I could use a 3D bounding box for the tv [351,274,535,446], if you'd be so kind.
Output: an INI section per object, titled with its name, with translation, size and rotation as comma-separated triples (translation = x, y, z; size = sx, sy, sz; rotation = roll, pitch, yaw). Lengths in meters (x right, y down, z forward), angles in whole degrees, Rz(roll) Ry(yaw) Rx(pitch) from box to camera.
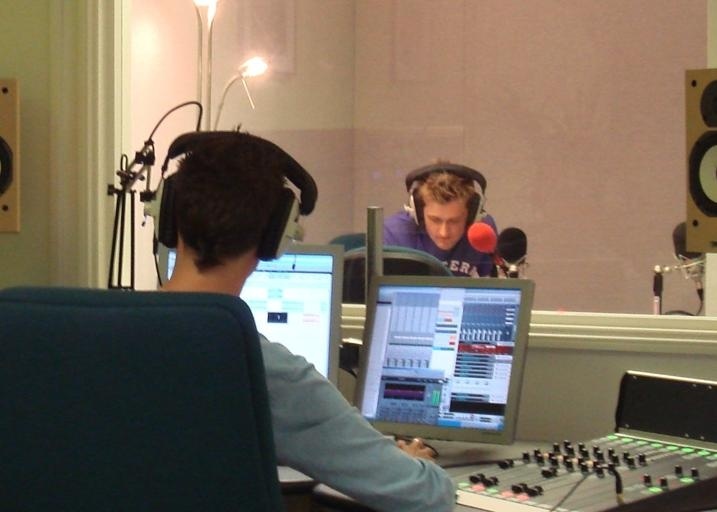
[tv]
translation = 0.237, 0.290, 2.156
size = 0.392, 0.388, 0.160
rotation = 7, -26, 20

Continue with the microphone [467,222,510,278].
[microphone]
translation = 0.464, -0.022, 2.619
size = 0.131, 0.147, 0.291
rotation = 3, -2, 21
